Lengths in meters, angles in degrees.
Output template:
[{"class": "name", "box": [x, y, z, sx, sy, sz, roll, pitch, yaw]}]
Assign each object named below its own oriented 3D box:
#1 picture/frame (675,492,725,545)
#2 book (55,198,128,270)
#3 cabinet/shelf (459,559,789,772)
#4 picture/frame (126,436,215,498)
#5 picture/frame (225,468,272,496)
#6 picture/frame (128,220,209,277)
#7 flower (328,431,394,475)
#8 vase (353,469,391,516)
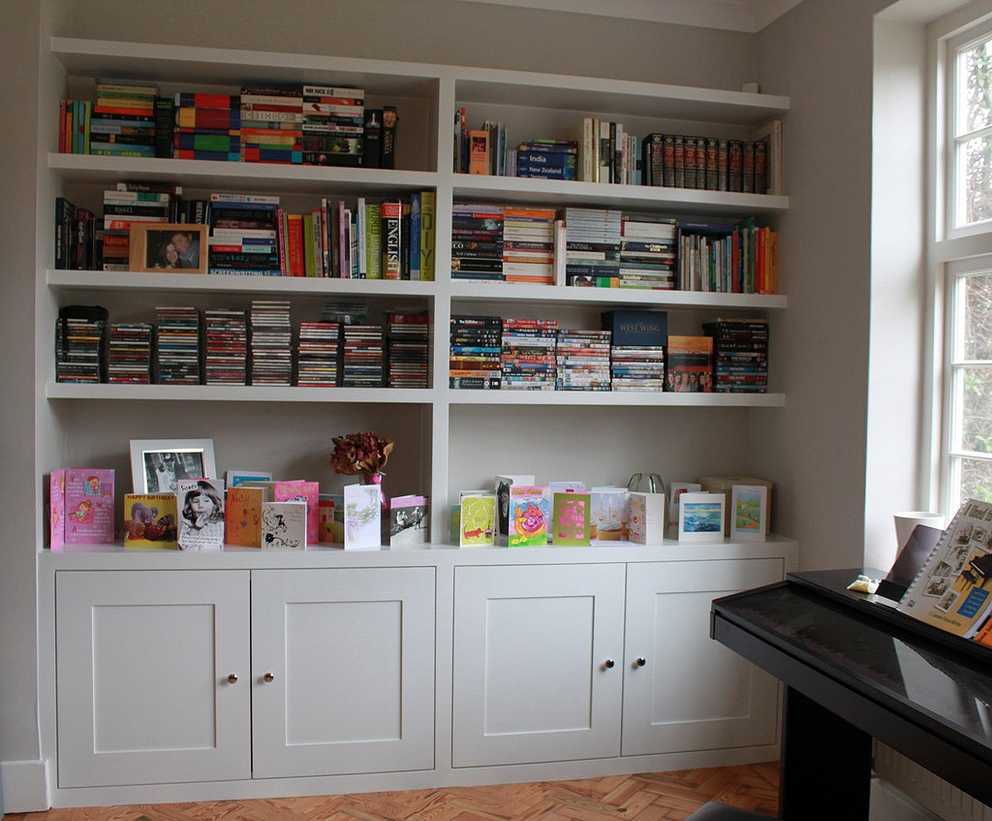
[{"class": "picture/frame", "box": [0.808, 0.412, 3.677, 0.237, 0.240, 0.167, 3, -5, -14]}, {"class": "book", "box": [-1.493, -0.653, 3.383, 0.250, 0.285, 0.101, -4, 1, -23]}, {"class": "cabinet/shelf", "box": [0.421, 0.952, 3.457, 0.859, 0.533, 0.280, 0, -2, -12]}, {"class": "picture/frame", "box": [-1.223, 0.220, 3.471, 0.205, 0.218, 0.016, 0, -7, -22]}, {"class": "picture/frame", "box": [-0.945, 0.271, 3.495, 0.167, 0.084, 0.159, -4, 1, -17]}, {"class": "picture/frame", "box": [-1.205, -0.590, 3.369, 0.200, 0.145, 0.021, 1, -6, -7]}, {"class": "flower", "box": [-0.521, 0.154, 3.546, 0.175, 0.131, 0.184, 0, -1, -3]}, {"class": "vase", "box": [-0.495, 0.323, 3.607, 0.175, 0.216, 0.146, -2, 1, -13]}]
